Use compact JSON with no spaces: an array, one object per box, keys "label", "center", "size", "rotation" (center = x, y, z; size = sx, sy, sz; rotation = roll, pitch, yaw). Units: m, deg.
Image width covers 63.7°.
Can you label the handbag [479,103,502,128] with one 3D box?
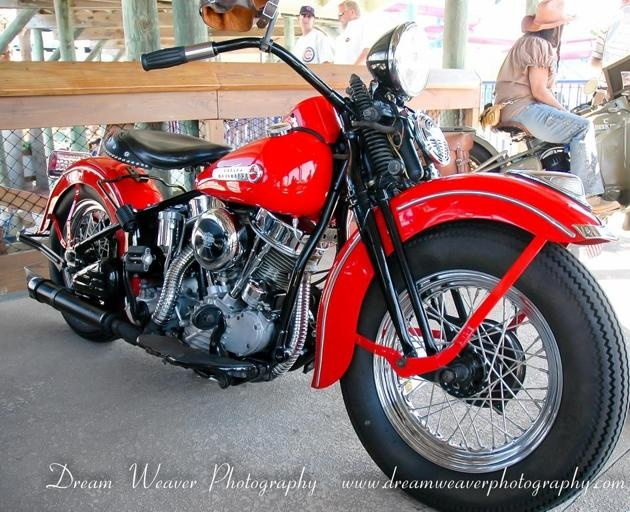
[{"label":"handbag","center":[1.430,-1.146,4.164],"size":[0.086,0.136,0.199],"rotation":[3,24,-11]}]
